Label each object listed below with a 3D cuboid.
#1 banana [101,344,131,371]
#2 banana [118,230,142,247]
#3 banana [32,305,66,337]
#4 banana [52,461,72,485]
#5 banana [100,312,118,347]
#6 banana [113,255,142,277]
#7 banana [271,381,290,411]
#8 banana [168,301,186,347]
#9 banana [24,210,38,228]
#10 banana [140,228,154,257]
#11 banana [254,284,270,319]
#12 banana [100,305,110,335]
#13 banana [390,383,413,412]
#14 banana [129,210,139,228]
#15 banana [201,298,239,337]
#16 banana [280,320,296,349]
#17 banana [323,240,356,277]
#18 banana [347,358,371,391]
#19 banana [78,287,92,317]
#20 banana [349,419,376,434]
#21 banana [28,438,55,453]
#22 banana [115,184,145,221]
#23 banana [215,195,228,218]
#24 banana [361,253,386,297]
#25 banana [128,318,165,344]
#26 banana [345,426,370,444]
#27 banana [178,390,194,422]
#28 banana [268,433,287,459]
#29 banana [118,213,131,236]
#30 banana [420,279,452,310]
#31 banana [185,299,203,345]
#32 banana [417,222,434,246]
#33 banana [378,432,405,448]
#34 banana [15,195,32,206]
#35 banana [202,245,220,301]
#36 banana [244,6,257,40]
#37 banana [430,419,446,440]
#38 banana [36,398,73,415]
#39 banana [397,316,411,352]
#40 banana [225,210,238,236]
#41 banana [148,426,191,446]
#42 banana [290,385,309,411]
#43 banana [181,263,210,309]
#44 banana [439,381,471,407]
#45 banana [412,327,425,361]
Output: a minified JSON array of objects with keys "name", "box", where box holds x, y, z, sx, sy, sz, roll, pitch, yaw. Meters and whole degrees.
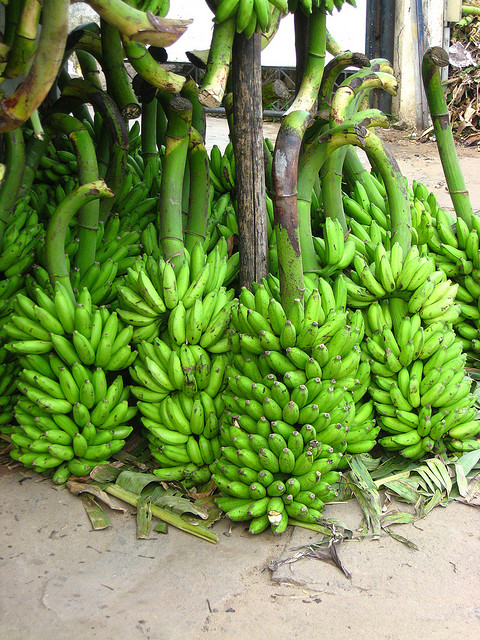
[{"name":"banana","box":[-0.472,0.137,2.007,0.114,0.043,0.032,-32,42,-8]},{"name":"banana","box":[-0.514,-0.379,2.490,0.143,0.038,0.050,-51,3,-40]},{"name":"banana","box":[-0.705,0.005,1.972,0.114,0.115,0.037,-1,8,-25]},{"name":"banana","box":[-0.664,0.562,1.978,0.037,0.029,0.085,3,39,19]},{"name":"banana","box":[-0.492,0.039,2.021,0.037,0.044,0.134,14,35,-5]},{"name":"banana","box":[-0.480,-0.230,2.265,0.127,0.055,0.040,-36,40,0]},{"name":"banana","box":[0.123,0.246,1.716,0.043,0.097,0.032,-7,44,13]},{"name":"banana","box":[-0.238,0.015,2.013,0.065,0.168,0.062,1,7,-9]},{"name":"banana","box":[-0.959,-0.467,2.456,0.028,0.108,0.037,23,-35,-9]},{"name":"banana","box":[-0.421,-0.328,2.400,0.041,0.169,0.057,-16,-28,13]},{"name":"banana","box":[0.075,-0.063,1.849,0.034,0.121,0.039,-12,-7,34]},{"name":"banana","box":[-0.536,-0.010,2.095,0.024,0.098,0.032,-1,-9,-9]},{"name":"banana","box":[0.597,0.300,2.000,0.040,0.157,0.054,-8,27,47]},{"name":"banana","box":[-0.521,-0.498,2.610,0.023,0.096,0.031,19,-20,-16]},{"name":"banana","box":[-0.081,-0.004,2.020,0.034,0.061,0.177,-4,39,53]},{"name":"banana","box":[0.157,0.051,1.761,0.052,0.105,0.077,3,7,5]},{"name":"banana","box":[0.427,-0.269,2.216,0.075,0.063,0.217,-1,44,46]},{"name":"banana","box":[0.434,0.202,1.969,0.041,0.126,0.031,19,-5,45]},{"name":"banana","box":[-0.578,-0.071,2.023,0.032,0.122,0.039,-2,27,10]},{"name":"banana","box":[0.445,0.393,1.968,0.032,0.071,0.104,50,24,11]},{"name":"banana","box":[-0.718,0.451,1.907,0.035,0.052,0.139,0,-13,8]},{"name":"banana","box":[-0.525,-0.614,2.690,0.062,0.099,0.279,22,41,5]},{"name":"banana","box":[-0.094,-0.555,2.590,0.047,0.111,0.126,3,8,7]},{"name":"banana","box":[0.518,-0.164,2.140,0.050,0.188,0.075,-23,11,-4]},{"name":"banana","box":[-0.373,0.041,2.080,0.027,0.040,0.099,34,70,33]},{"name":"banana","box":[0.423,0.419,1.946,0.100,0.032,0.038,-39,6,2]},{"name":"banana","box":[-0.201,0.310,1.974,0.036,0.134,0.042,-7,-13,-24]},{"name":"banana","box":[0.111,0.401,1.669,0.040,0.087,0.033,-9,40,12]},{"name":"banana","box":[-0.553,-0.465,2.550,0.031,0.123,0.042,12,-14,5]},{"name":"banana","box":[0.769,-0.101,2.119,0.033,0.120,0.041,41,-21,-10]},{"name":"banana","box":[-0.169,0.012,1.993,0.057,0.169,0.050,-2,8,-30]},{"name":"banana","box":[0.920,-0.425,2.631,0.077,0.111,0.088,3,7,2]},{"name":"banana","box":[0.568,0.466,2.018,0.153,0.061,0.032,9,32,-53]},{"name":"banana","box":[-1.010,-0.564,2.496,0.031,0.039,0.106,20,21,2]},{"name":"banana","box":[-0.110,-0.192,2.202,0.047,0.223,0.079,12,-34,-6]},{"name":"banana","box":[0.034,-1.004,1.805,0.021,0.101,0.033,-12,26,-33]},{"name":"banana","box":[0.735,0.411,1.991,0.039,0.097,0.065,3,7,3]},{"name":"banana","box":[-0.658,0.323,1.912,0.057,0.050,0.173,-15,-18,22]},{"name":"banana","box":[0.623,0.056,2.053,0.036,0.136,0.044,4,8,-2]},{"name":"banana","box":[-0.042,-0.461,2.505,0.037,0.140,0.048,-22,-14,-13]},{"name":"banana","box":[-0.249,0.434,1.992,0.175,0.058,0.062,21,-11,-32]},{"name":"banana","box":[0.193,0.249,1.707,0.057,0.096,0.065,2,7,-4]},{"name":"banana","box":[-0.168,-0.129,2.079,0.059,0.226,0.070,34,-32,-23]},{"name":"banana","box":[0.804,0.280,2.012,0.035,0.102,0.024,40,0,-22]},{"name":"banana","box":[0.669,0.085,2.006,0.037,0.141,0.045,-17,25,-31]}]
